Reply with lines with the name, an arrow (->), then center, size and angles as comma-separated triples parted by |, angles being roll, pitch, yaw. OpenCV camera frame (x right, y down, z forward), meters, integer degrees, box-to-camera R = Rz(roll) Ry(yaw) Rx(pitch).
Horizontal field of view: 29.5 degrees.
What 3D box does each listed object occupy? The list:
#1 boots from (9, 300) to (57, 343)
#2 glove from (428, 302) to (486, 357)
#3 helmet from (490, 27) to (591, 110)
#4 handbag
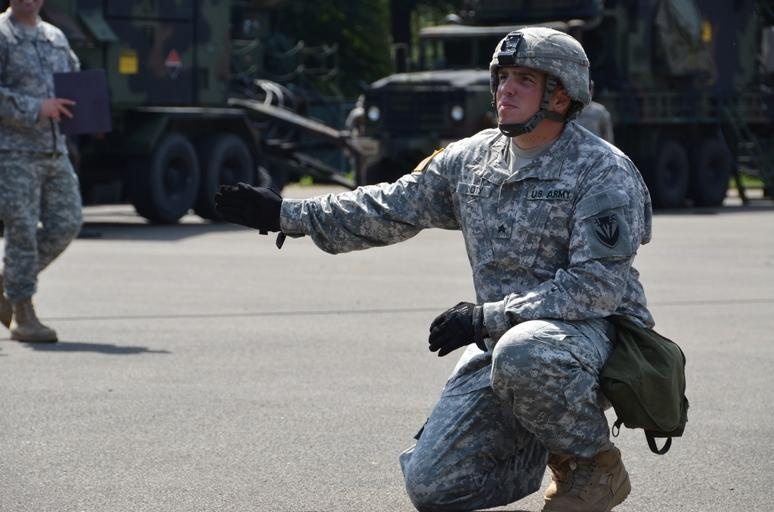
boots -> -2.163, 0.438, 9.265 | 0.378, 0.320, 0.176 | 2, 2, -6
glove -> 0.306, 0.348, 7.060 | 0.285, 0.219, 0.099 | -33, 5, 1
helmet -> 0.732, -0.908, 7.130 | 0.425, 0.293, 0.400 | -12, 19, -40
handbag -> 1.197, 0.599, 7.034 | 0.279, 0.482, 0.526 | -23, -41, 33
